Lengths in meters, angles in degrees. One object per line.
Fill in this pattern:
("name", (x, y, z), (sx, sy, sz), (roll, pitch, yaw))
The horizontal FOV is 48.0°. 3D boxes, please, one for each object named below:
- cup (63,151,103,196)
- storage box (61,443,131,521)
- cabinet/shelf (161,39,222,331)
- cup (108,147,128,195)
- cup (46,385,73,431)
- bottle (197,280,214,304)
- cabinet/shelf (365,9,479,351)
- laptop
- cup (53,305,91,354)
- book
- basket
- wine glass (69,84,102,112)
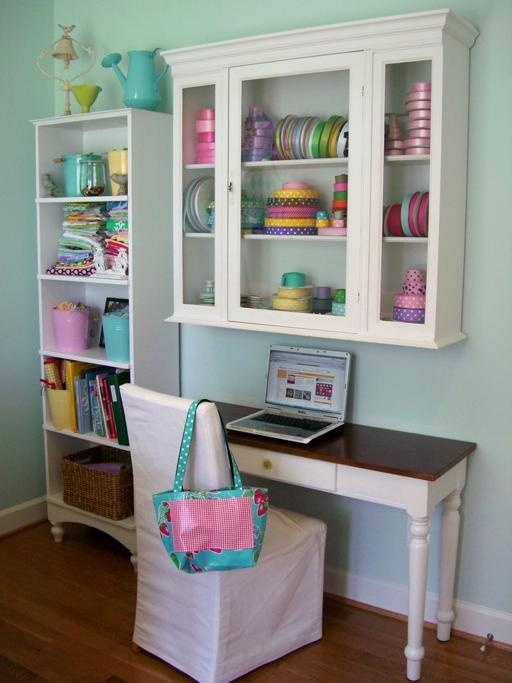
("cup", (-0.737, -0.718, 2.500), (0.177, 0.156, 0.213), (0, 10, -2))
("storage box", (-0.616, 0.612, 2.527), (0.353, 0.189, 0.250), (5, 9, 40))
("cabinet/shelf", (-0.171, -0.527, 2.131), (0.275, 0.904, 0.221), (4, 10, 21))
("cup", (-0.552, -0.720, 2.379), (0.104, 0.127, 0.103), (-1, 19, 0))
("cup", (-0.879, 0.303, 2.676), (0.176, 0.184, 0.170), (0, 6, 0))
("bottle", (-0.176, -0.180, 2.106), (0.018, 0.073, 0.074), (6, -6, -30))
("cabinet/shelf", (0.531, -0.441, 1.657), (0.365, 0.907, 0.264), (-2, 4, -26))
("laptop", (0.116, 0.184, 2.021), (0.365, 0.256, 0.330), (6, 14, 44))
("cup", (-0.856, -0.033, 2.653), (0.170, 0.193, 0.166), (-1, -10, 0))
("book", (-0.671, 0.259, 2.444), (0.213, 0.339, 0.358), (-2, 4, 29))
("basket", (-0.696, 0.595, 2.564), (0.312, 0.156, 0.221), (10, 17, 9))
("wine glass", (-0.736, -1.072, 2.562), (0.163, 0.116, 0.147), (7, 11, 13))
